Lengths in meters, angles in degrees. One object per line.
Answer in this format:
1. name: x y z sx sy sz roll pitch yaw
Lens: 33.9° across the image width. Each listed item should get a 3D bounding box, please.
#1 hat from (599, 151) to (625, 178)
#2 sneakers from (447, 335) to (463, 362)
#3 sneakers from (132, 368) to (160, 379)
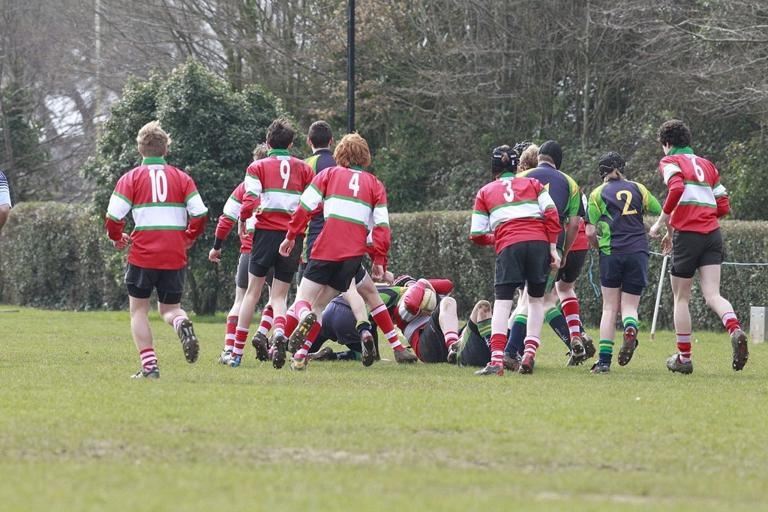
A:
1. hat: 4.715 -1.952 26.519 0.401 0.490 0.514 -3 8 -34
2. sneakers: 1.445 1.941 26.133 0.185 0.600 0.257 15 -12 -35
3. sneakers: -4.676 2.315 25.006 0.586 0.279 0.223 2 -4 9
